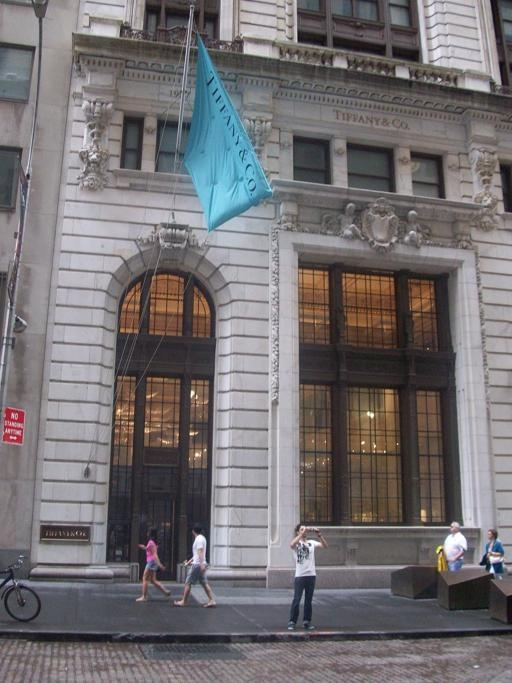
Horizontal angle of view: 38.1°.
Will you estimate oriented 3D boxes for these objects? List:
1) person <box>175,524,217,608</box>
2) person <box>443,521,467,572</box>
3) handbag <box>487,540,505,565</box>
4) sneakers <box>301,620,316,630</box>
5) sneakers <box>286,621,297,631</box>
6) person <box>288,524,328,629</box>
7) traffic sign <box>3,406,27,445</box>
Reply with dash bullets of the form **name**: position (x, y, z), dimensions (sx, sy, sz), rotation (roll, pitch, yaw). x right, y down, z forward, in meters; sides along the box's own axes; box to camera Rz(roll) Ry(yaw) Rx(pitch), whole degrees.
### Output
- **person**: position (-1.189, 4.492, 14.817), dimensions (0.811, 1.533, 1.943), rotation (2, -14, -3)
- **person**: position (4.334, 4.508, 16.262), dimensions (0.481, 1.001, 0.767), rotation (-3, -14, 14)
- **handbag**: position (5.339, 4.733, 16.601), dimensions (0.339, 0.534, 0.455), rotation (-3, -14, 14)
- **sneakers**: position (0.885, 4.783, 12.430), dimensions (0.083, 0.117, 0.261), rotation (6, -25, -17)
- **sneakers**: position (0.600, 4.755, 12.374), dimensions (0.082, 0.115, 0.257), rotation (1, -8, 6)
- **person**: position (0.888, 4.110, 13.063), dimensions (0.612, 1.699, 1.467), rotation (0, -14, 5)
- **traffic sign**: position (-5.248, 1.848, 16.117), dimensions (0.046, 1.004, 0.914), rotation (-11, -16, 15)
